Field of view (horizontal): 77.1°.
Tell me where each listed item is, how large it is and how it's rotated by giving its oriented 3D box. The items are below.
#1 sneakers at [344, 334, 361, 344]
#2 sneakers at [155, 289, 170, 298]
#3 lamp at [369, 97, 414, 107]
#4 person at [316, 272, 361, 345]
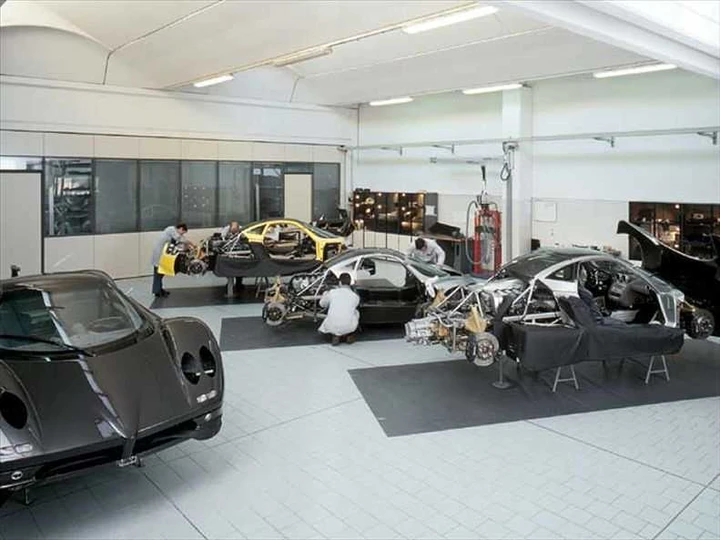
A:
[{"bbox_3d":[-0.129,1.150,7.693,0.138,0.148,0.252,3,17,7],"label":"sneakers"},{"bbox_3d":[-4.601,0.544,10.591,0.156,0.105,0.385,-19,-10,43],"label":"sneakers"},{"bbox_3d":[1.035,-5.254,14.057,0.995,0.080,0.210,-2,8,24],"label":"lamp"},{"bbox_3d":[-0.337,0.661,7.470,0.644,1.208,0.558,0,13,-1],"label":"person"}]
